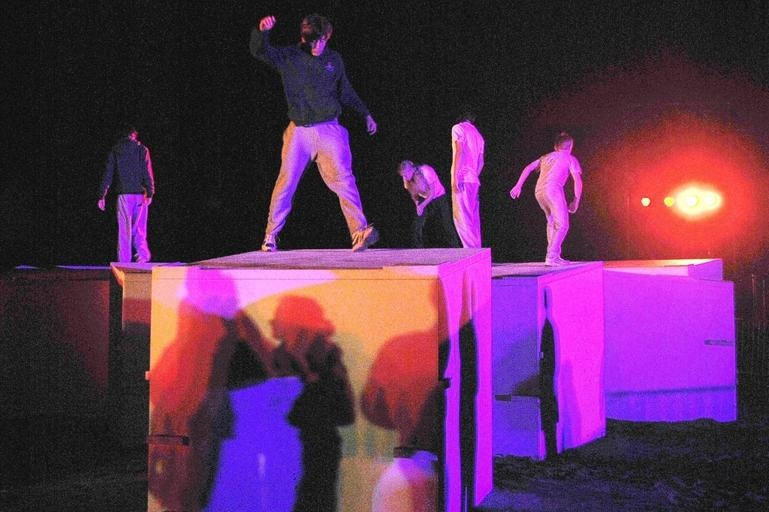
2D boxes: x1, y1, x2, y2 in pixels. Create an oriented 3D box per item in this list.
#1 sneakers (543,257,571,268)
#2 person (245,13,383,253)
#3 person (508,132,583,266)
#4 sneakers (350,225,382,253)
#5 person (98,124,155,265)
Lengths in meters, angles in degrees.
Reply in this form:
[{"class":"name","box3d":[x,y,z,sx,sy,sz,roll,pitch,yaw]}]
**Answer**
[{"class":"sneakers","box3d":[1.913,0.078,12.562,0.335,0.143,0.111,-1,-2,0]},{"class":"person","box3d":[-0.740,-1.229,11.342,1.096,2.321,0.633,-1,-2,-7]},{"class":"person","box3d":[1.942,-0.653,12.880,0.682,1.532,0.941,-2,-2,-5]},{"class":"sneakers","box3d":[-0.168,-0.146,11.029,0.147,0.368,0.170,42,8,-31]},{"class":"person","box3d":[-3.055,-0.707,13.369,0.611,1.584,0.444,-1,-2,-15]}]
